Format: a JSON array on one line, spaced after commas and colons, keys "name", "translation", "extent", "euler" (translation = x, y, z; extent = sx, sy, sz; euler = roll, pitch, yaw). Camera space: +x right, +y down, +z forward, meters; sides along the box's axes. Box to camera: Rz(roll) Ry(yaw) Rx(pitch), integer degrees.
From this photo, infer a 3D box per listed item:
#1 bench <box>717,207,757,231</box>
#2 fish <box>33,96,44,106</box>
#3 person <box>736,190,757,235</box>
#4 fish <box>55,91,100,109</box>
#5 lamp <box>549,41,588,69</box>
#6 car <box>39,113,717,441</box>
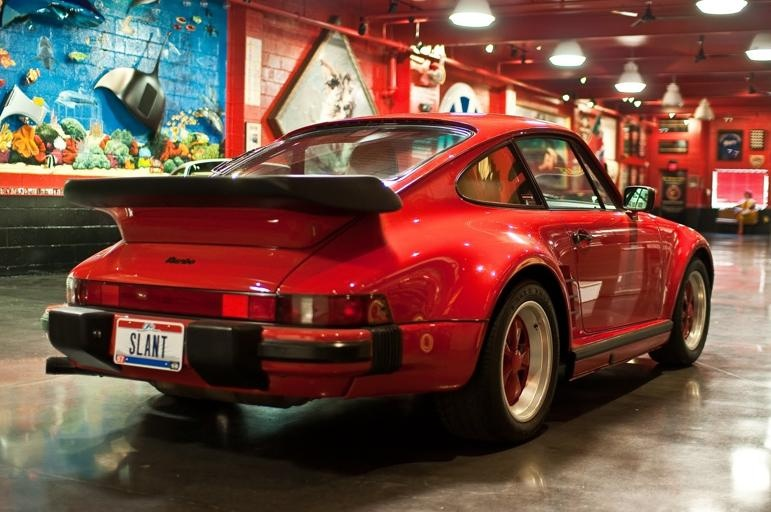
[{"name": "bench", "translation": [20.026, -2.168, 34.433], "extent": [1.224, 1.151, 1.755], "euler": [2, 1, -31]}, {"name": "fish", "translation": [-5.912, -2.640, 10.096], "extent": [0.007, 0.148, 0.188], "euler": [3, 5, 32]}, {"name": "person", "translation": [20.121, -2.426, 32.945], "extent": [1.053, 2.312, 1.508], "euler": [3, 5, 29]}, {"name": "fish", "translation": [-5.531, -2.789, 10.590], "extent": [0.026, 0.325, 0.672], "euler": [4, 6, 41]}, {"name": "lamp", "translation": [4.422, -4.984, 14.431], "extent": [0.770, 0.635, 0.530], "euler": [2, 4, 13]}, {"name": "car", "translation": [0.223, 0.062, 3.470], "extent": [3.620, 1.841, 1.342], "euler": [-2, 5, -36]}]
